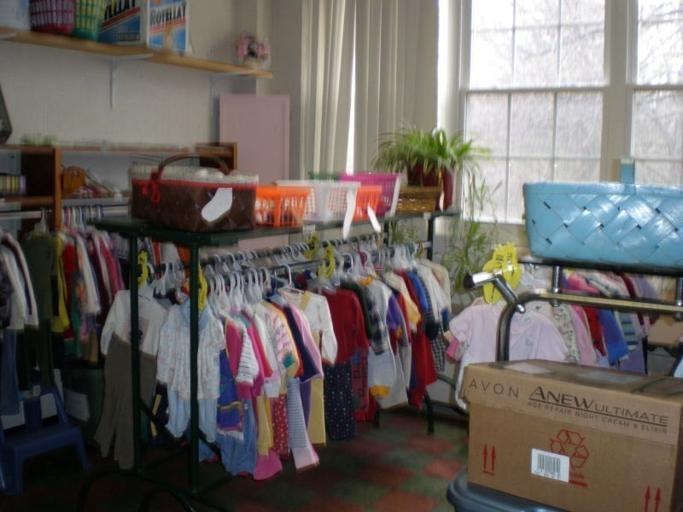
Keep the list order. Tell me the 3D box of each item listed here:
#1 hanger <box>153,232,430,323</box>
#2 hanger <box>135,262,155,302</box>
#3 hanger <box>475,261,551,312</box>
[{"bbox_3d":[-0.251,0.043,3.161,1.528,0.278,0.463,-6,10,-38],"label":"hanger"},{"bbox_3d":[-0.990,0.130,2.846,0.047,0.186,0.103,2,3,3],"label":"hanger"},{"bbox_3d":[0.473,0.070,1.641,0.137,0.067,0.136,3,-17,-44],"label":"hanger"}]
